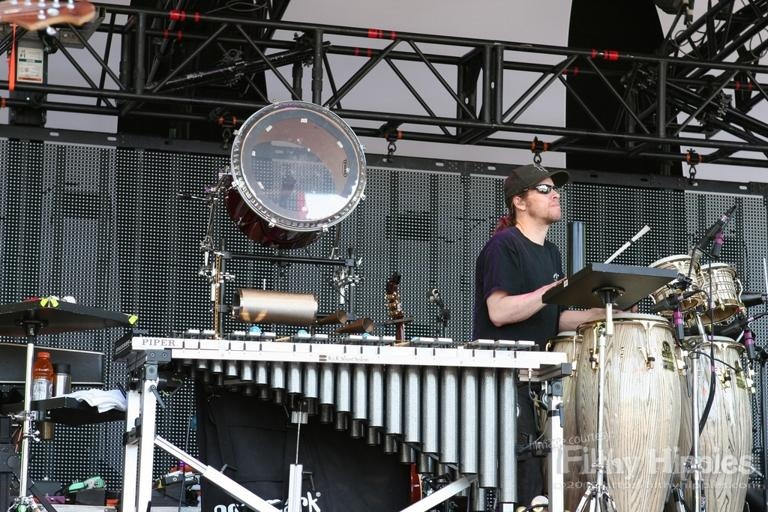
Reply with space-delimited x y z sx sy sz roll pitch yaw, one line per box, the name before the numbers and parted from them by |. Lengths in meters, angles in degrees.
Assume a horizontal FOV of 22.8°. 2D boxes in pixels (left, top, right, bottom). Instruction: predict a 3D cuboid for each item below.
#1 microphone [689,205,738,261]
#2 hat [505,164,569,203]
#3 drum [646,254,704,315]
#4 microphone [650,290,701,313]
microphone | 2.738 -0.178 15.909 0.133 0.572 0.119 47 -5 -16
hat | 1.129 -0.569 14.433 0.439 0.216 0.291 -20 -8 28
drum | 2.212 0.178 14.264 0.355 0.550 0.663 0 -5 -5
microphone | 2.186 0.359 14.139 0.192 0.094 0.259 -15 -11 6
